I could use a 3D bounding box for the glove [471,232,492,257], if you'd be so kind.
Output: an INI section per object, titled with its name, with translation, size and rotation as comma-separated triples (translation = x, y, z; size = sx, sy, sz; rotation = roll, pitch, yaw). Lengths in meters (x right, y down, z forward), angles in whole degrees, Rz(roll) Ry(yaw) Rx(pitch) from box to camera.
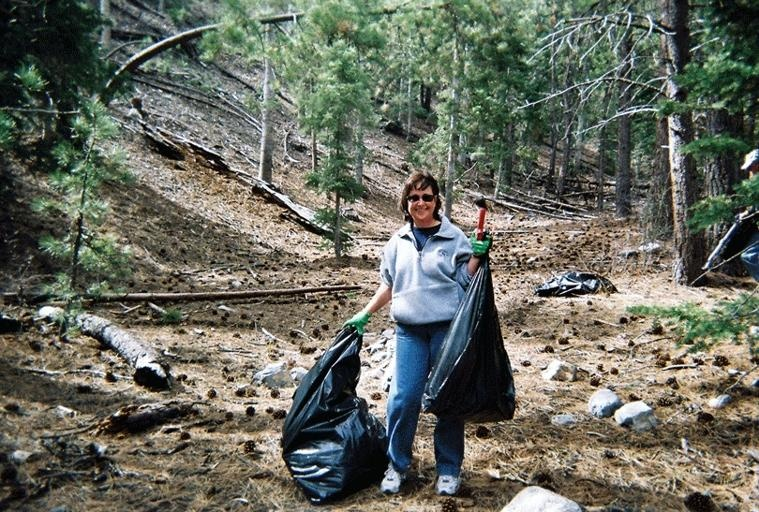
[glove]
translation = 1.332, -0.151, 10.742
size = 0.268, 0.326, 0.165
rotation = 2, 1, 8

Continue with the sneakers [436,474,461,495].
[sneakers]
translation = 0.903, 3.017, 10.744
size = 0.147, 0.169, 0.385
rotation = 1, 0, 13
